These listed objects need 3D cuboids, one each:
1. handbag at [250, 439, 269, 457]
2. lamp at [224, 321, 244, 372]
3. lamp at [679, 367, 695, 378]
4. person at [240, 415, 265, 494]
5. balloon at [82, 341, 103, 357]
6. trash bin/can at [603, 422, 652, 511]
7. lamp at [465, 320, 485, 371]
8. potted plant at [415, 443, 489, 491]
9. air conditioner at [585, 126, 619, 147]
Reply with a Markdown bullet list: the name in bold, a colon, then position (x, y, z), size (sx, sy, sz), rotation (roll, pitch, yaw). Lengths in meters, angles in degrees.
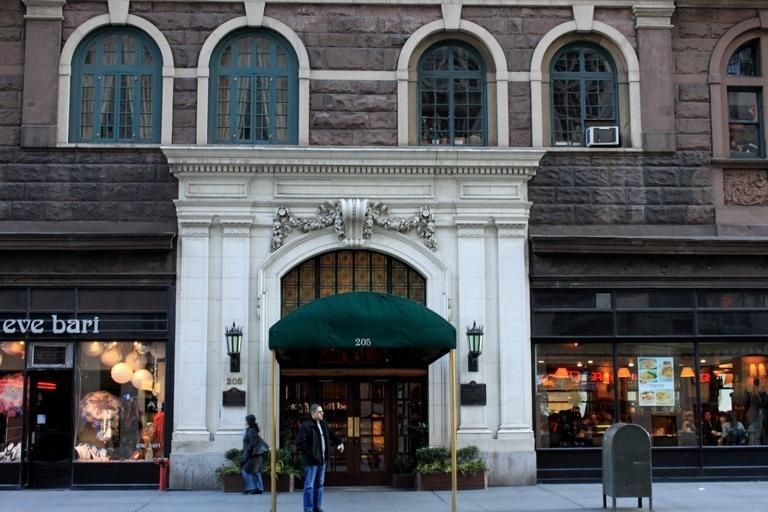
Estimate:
- **handbag**: position (-3.359, 5.268, 40.492), size (0.393, 0.449, 0.180), rotation (29, -16, -14)
- **lamp**: position (-4.170, 2.535, 41.424), size (0.485, 1.421, 0.442), rotation (-1, -8, -4)
- **lamp**: position (8.748, 3.339, 42.480), size (0.352, 0.297, 0.323), rotation (-2, 0, 28)
- **person**: position (-3.529, 5.449, 40.515), size (0.686, 2.135, 0.639), rotation (-1, -8, -7)
- **balloon**: position (-8.218, 2.632, 42.030), size (0.511, 0.415, 0.535), rotation (12, -9, -7)
- **trash bin/can**: position (6.357, 5.500, 38.498), size (1.253, 2.285, 0.731), rotation (-3, -8, 5)
- **lamp**: position (2.630, 2.548, 41.721), size (0.498, 1.396, 0.511), rotation (-2, -8, 2)
- **potted plant**: position (1.815, 5.980, 41.678), size (2.291, 1.099, 1.133), rotation (2, -7, -4)
- **air conditioner**: position (6.350, -3.475, 42.812), size (1.031, 0.546, 0.592), rotation (0, -5, 0)
